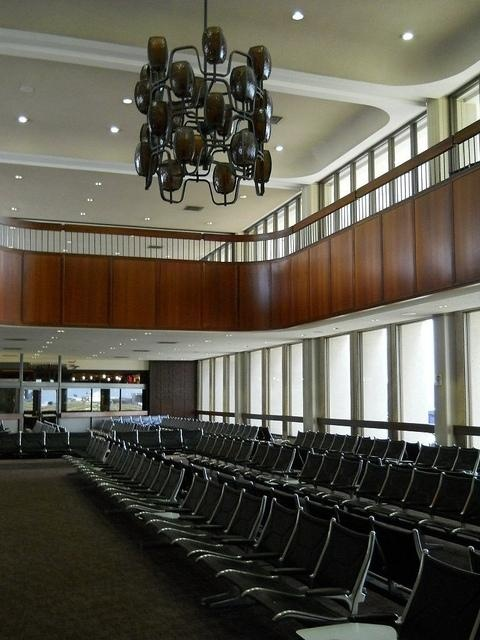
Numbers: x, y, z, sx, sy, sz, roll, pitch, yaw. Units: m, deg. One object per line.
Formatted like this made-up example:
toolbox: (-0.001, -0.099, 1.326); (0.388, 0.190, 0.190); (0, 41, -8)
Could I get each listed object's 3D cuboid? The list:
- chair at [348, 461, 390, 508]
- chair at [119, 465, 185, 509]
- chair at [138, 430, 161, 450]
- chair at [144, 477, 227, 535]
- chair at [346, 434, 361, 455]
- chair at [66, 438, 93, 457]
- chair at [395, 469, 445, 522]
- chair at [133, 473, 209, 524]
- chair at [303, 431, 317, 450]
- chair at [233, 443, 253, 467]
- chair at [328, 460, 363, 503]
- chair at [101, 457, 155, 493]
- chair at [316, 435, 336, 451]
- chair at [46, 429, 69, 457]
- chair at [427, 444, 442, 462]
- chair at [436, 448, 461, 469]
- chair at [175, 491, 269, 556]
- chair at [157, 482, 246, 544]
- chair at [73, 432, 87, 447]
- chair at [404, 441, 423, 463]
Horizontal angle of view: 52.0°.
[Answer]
chair: (1.725, 2.185, 6.526); (0.380, 0.631, 0.471); (4, -13, 38)
chair: (-1.055, 2.166, 6.245); (0.653, 0.619, 0.527); (6, -16, -23)
chair: (-2.880, 3.821, 15.652); (0.671, 0.406, 0.955); (0, -1, -12)
chair: (-0.580, 1.921, 5.238); (0.717, 0.539, 0.754); (-3, -18, 45)
chair: (2.612, 2.912, 11.417); (0.353, 0.304, 0.559); (0, -1, -8)
chair: (-4.883, 3.856, 15.011); (0.547, 0.946, 0.666); (4, -14, -20)
chair: (2.043, 2.021, 5.665); (0.450, 0.676, 0.663); (4, -20, 32)
chair: (-0.702, 1.967, 5.561); (0.628, 0.541, 0.457); (22, -19, -26)
chair: (1.870, 3.179, 13.115); (0.399, 0.365, 0.963); (0, -1, 2)
chair: (0.060, 3.053, 11.287); (0.353, 0.558, 0.419); (17, -9, -36)
chair: (1.483, 2.304, 7.164); (0.468, 0.637, 0.541); (13, -16, 13)
chair: (-1.742, 2.487, 7.943); (0.515, 0.778, 0.468); (14, -21, -28)
chair: (2.167, 3.051, 12.339); (0.318, 0.360, 0.770); (0, -1, -2)
chair: (-5.559, 3.856, 15.038); (0.696, 0.705, 0.419); (1, -1, -22)
chair: (3.483, 2.401, 8.900); (0.221, 0.362, 0.211); (5, -5, -44)
chair: (3.513, 2.349, 8.299); (0.261, 0.488, 0.295); (6, -10, -23)
chair: (-0.175, 1.689, 4.126); (0.650, 0.578, 0.493); (14, -13, -28)
chair: (-0.457, 1.808, 4.792); (0.643, 0.545, 0.457); (18, -13, -35)
chair: (-5.007, 3.780, 15.438); (0.500, 0.445, 0.297); (8, -20, -30)
chair: (3.512, 2.765, 10.243); (0.334, 0.507, 0.371); (-8, -17, 41)
